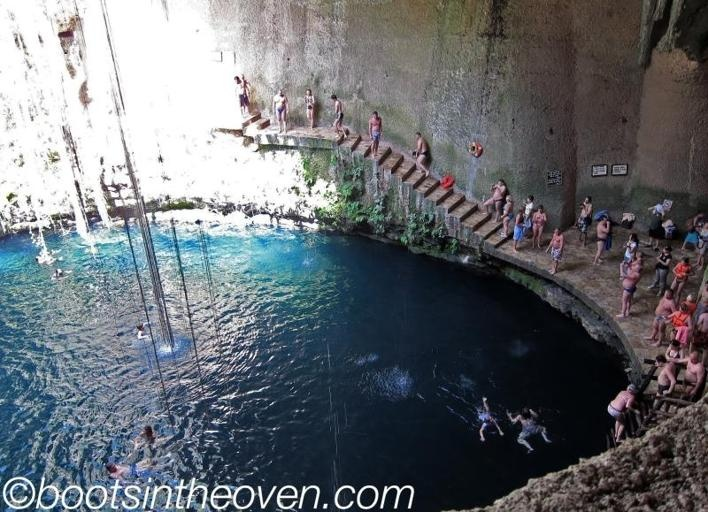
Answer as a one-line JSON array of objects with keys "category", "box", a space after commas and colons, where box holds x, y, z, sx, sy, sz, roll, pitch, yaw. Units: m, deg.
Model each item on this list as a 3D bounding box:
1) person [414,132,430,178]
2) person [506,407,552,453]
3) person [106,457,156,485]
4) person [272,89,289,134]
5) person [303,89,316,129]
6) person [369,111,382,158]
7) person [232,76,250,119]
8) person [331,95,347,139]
[{"category": "person", "box": [2.467, -3.828, 16.959, 0.573, 1.595, 0.563, 10, 21, 39]}, {"category": "person", "box": [3.939, 3.891, 10.228, 0.738, 0.339, 1.026, -3, 15, 1]}, {"category": "person", "box": [-4.712, 4.556, 9.827, 1.100, 0.479, 0.384, 0, 34, -15]}, {"category": "person", "box": [-3.040, -6.122, 19.099, 0.569, 1.743, 1.378, -5, 16, -7]}, {"category": "person", "box": [-1.815, -6.194, 18.959, 0.479, 1.588, 0.956, -5, 16, -4]}, {"category": "person", "box": [0.827, -4.704, 17.311, 0.427, 1.648, 1.028, -3, 16, 2]}, {"category": "person", "box": [-4.745, -6.910, 19.505, 0.542, 1.566, 0.510, -7, 16, -12]}, {"category": "person", "box": [-0.577, -5.616, 18.245, 0.571, 1.780, 1.429, -4, 16, -2]}]
